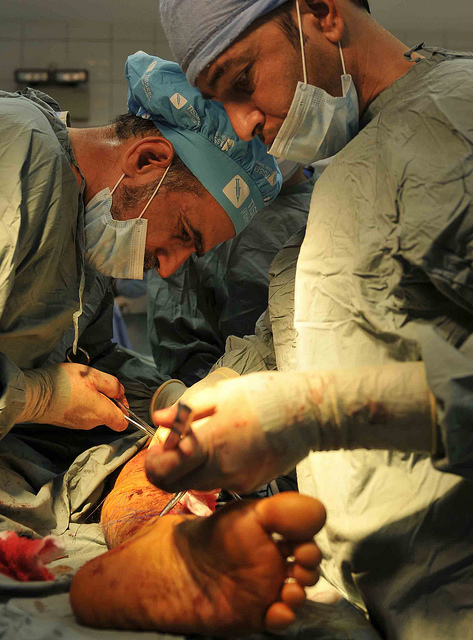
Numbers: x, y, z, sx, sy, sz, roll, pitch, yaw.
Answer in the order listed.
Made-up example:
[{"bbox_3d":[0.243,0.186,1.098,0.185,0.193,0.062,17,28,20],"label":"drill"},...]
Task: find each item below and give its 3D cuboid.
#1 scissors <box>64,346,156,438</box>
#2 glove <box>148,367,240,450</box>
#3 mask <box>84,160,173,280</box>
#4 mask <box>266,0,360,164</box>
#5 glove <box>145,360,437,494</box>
[{"bbox_3d":[-0.458,0.262,2.314,0.459,0.100,0.054,43,28,9],"label":"scissors"},{"bbox_3d":[-0.123,0.189,1.758,0.099,0.243,0.175,32,35,-24],"label":"glove"},{"bbox_3d":[-0.386,-0.328,2.083,0.187,0.308,0.300,29,-16,-1],"label":"mask"},{"bbox_3d":[0.226,-0.589,1.649,0.186,0.290,0.316,-1,-7,15],"label":"mask"},{"bbox_3d":[0.084,0.161,1.136,0.441,0.140,0.235,-5,-3,-3],"label":"glove"}]
